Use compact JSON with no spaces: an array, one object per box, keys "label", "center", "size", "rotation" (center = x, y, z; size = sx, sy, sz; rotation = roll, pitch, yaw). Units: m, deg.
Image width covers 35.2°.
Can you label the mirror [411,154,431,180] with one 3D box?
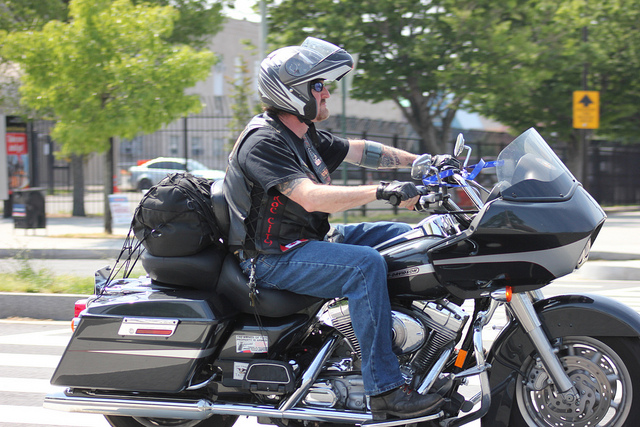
[{"label":"mirror","center":[1.350,-0.622,13.523],"size":[0.306,0.288,0.083],"rotation":[10,-8,23]}]

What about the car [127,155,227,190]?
[{"label":"car","center":[-4.453,-1.304,31.820],"size":[3.509,0.825,1.187],"rotation":[2,24,22]}]

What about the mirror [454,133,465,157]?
[{"label":"mirror","center":[1.870,-0.921,13.592],"size":[0.127,0.275,0.087],"rotation":[12,-2,0]}]

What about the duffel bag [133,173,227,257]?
[{"label":"duffel bag","center":[-1.992,-0.019,13.948],"size":[1.161,1.053,0.999],"rotation":[-10,10,-22]}]
